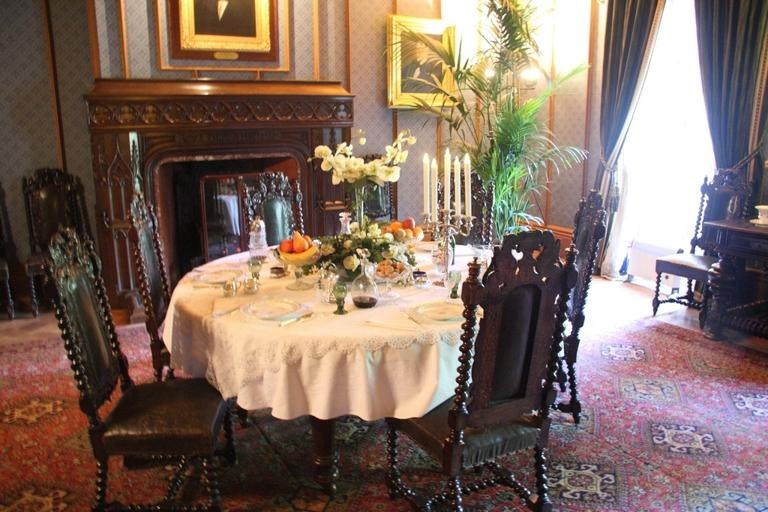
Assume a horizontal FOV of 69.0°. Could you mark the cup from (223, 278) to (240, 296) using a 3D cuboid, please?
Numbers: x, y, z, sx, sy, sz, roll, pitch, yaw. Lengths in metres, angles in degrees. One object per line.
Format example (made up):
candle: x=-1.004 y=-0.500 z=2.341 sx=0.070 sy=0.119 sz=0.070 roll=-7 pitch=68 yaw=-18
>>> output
cup: x=-0.970 y=0.210 z=3.569 sx=0.072 sy=0.080 sz=0.116 roll=2 pitch=-2 yaw=1

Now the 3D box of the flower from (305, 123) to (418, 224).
flower: x=-0.115 y=-0.495 z=3.727 sx=0.554 sy=0.522 sz=0.511 roll=2 pitch=2 yaw=-2

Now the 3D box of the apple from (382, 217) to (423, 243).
apple: x=0.153 y=-0.175 z=3.973 sx=0.216 sy=0.098 sz=0.214 roll=0 pitch=5 yaw=-35

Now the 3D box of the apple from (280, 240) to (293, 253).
apple: x=-0.654 y=-0.072 z=3.710 sx=0.079 sy=0.085 sz=0.081 roll=-11 pitch=24 yaw=-21
